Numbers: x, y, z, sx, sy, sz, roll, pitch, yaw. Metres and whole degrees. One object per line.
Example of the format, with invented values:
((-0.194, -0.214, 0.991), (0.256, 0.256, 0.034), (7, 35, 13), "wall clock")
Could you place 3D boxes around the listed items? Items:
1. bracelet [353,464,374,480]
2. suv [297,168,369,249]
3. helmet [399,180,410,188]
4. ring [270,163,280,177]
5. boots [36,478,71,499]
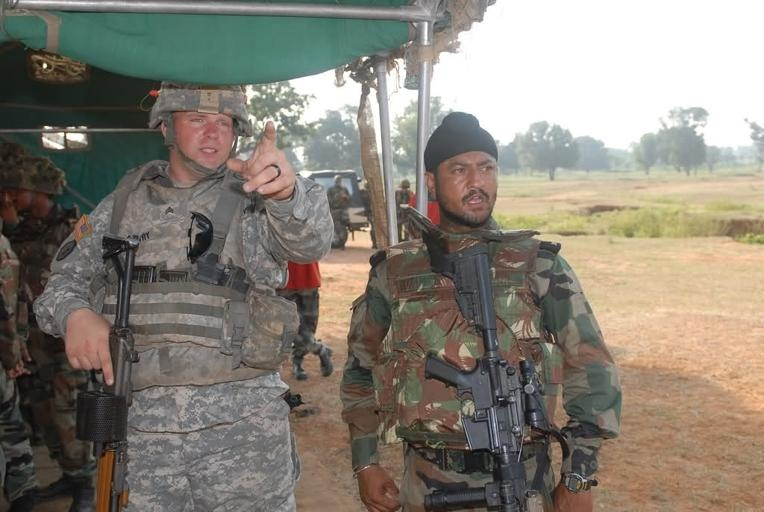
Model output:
((-0.111, 1.380, 4.652), (0.138, 0.027, 0.098), (-5, 2, -24), "bracelet")
((-1.252, -1.742, 25.289), (2.094, 2.123, 3.340), (-2, 10, -17), "suv")
((0.674, -2.022, 20.347), (0.186, 0.200, 0.250), (-2, 8, -45), "helmet")
((-0.603, -0.495, 4.195), (0.015, 0.063, 0.063), (-14, -11, -19), "ring")
((-2.825, 2.030, 6.293), (0.181, 0.075, 0.183), (-1, 0, -24), "boots")
